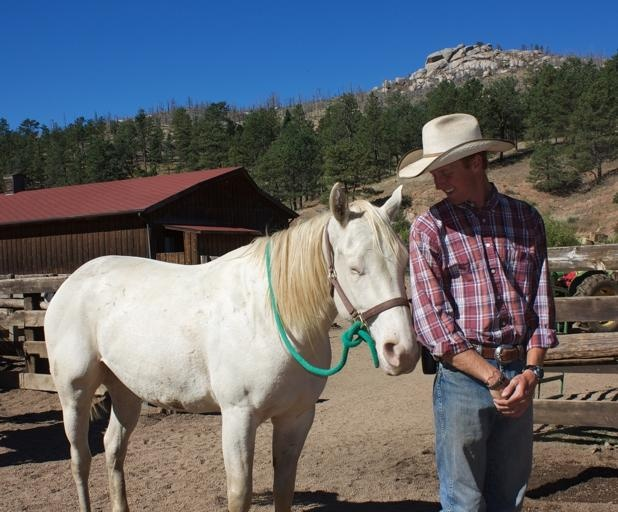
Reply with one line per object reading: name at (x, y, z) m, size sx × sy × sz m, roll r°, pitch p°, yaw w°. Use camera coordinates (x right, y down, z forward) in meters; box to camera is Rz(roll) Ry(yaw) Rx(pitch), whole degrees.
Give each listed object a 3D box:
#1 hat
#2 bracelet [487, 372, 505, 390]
hat at (1.167, -0.906, 6.298) m, size 0.673 × 0.302 × 0.613 m, roll -19°, pitch 3°, yaw -16°
bracelet at (1.421, 0.954, 5.938) m, size 0.121 × 0.044 × 0.117 m, roll -27°, pitch -6°, yaw -45°
